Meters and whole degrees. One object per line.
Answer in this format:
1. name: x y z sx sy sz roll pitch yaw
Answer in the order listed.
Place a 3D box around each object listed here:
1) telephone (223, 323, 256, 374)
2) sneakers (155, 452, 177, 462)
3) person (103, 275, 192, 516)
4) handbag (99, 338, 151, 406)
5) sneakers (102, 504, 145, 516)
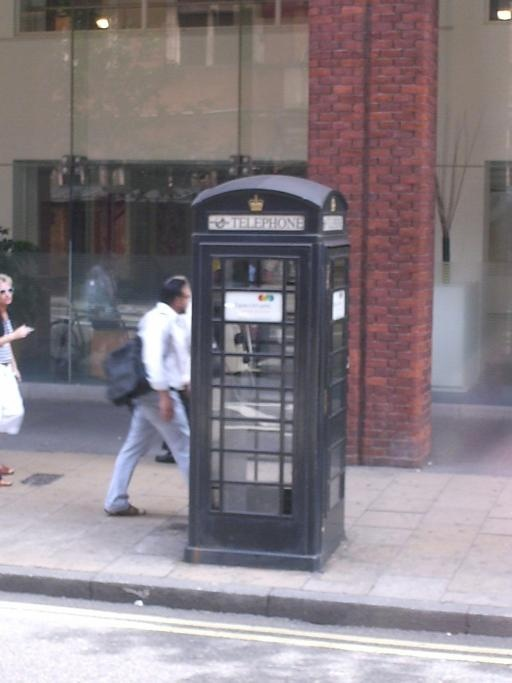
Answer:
1. telephone: -0.092 0.001 6.801 0.209 0.361 0.231 1 -6 9
2. sneakers: -0.721 0.953 9.747 0.195 0.081 0.071 4 4 6
3. person: -0.608 0.406 7.511 0.468 1.584 0.784 -8 11 -41
4. handbag: -0.807 0.203 7.475 0.165 0.410 0.309 18 1 -14
5. sneakers: -0.858 1.120 7.859 0.257 0.100 0.094 -1 7 -13
